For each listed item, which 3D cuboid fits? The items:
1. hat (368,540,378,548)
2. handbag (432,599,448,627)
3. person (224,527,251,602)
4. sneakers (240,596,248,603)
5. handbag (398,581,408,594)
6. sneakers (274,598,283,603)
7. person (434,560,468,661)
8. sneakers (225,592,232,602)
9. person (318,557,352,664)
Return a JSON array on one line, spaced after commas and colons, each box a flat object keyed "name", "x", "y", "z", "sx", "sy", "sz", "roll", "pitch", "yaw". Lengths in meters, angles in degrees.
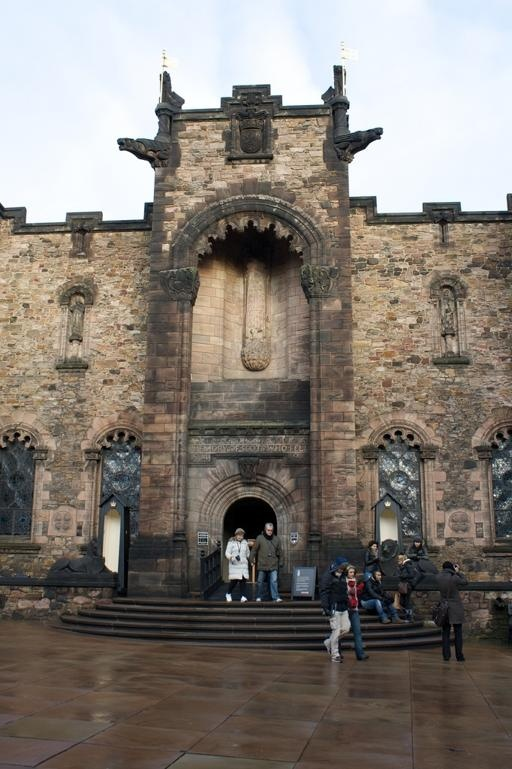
[{"name": "hat", "x": 2.596, "y": 3.585, "z": 14.234, "sx": 0.172, "sy": 0.175, "sz": 0.389, "roll": -1, "pitch": -11, "yaw": 5}, {"name": "handbag", "x": 2.866, "y": 3.567, "z": 9.922, "sx": 0.187, "sy": 0.425, "sz": 0.620, "roll": -3, "pitch": -12, "yaw": 12}, {"name": "person", "x": -0.410, "y": 4.008, "z": 14.109, "sx": 0.513, "sy": 1.580, "sz": 0.790, "roll": 0, "pitch": -12, "yaw": -2}, {"name": "sneakers", "x": -0.287, "y": 4.754, "z": 14.077, "sx": 0.073, "sy": 0.088, "sz": 0.213, "roll": 1, "pitch": -6, "yaw": 4}, {"name": "handbag", "x": 3.271, "y": 4.522, "z": 14.183, "sx": 0.256, "sy": 0.266, "sz": 0.121, "roll": -1, "pitch": -31, "yaw": 11}, {"name": "sneakers", "x": 0.470, "y": 4.723, "z": 13.925, "sx": 0.086, "sy": 0.089, "sz": 0.214, "roll": 12, "pitch": -23, "yaw": -30}, {"name": "person", "x": 3.017, "y": 3.539, "z": 9.868, "sx": 0.460, "sy": 1.508, "sz": 0.574, "roll": -4, "pitch": -13, "yaw": 16}, {"name": "sneakers", "x": -0.621, "y": 4.759, "z": 14.251, "sx": 0.116, "sy": 0.145, "sz": 0.343, "roll": 3, "pitch": -15, "yaw": -7}, {"name": "person", "x": 1.160, "y": 3.322, "z": 9.325, "sx": 0.408, "sy": 1.487, "sz": 0.607, "roll": -2, "pitch": -12, "yaw": 8}]
